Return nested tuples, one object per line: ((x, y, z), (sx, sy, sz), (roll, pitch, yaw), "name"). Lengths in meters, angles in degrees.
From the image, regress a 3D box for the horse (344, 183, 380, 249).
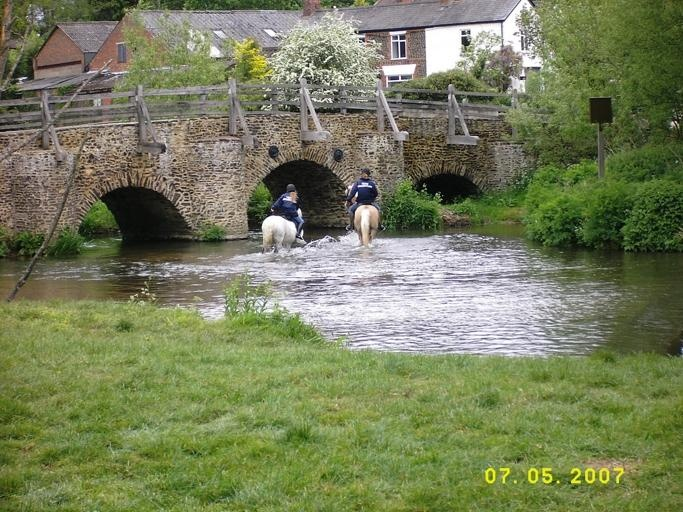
((0.694, -1.317, 33.155), (1.072, 2.064, 2.030), (-1, -1, 0), "horse")

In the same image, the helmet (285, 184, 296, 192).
((-1.561, -2.080, 31.291), (0.415, 0.296, 0.571), (-1, 4, 1), "helmet")

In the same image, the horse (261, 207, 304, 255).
((-1.962, -0.687, 31.360), (0.537, 1.161, 1.407), (-2, -1, 36), "horse")
